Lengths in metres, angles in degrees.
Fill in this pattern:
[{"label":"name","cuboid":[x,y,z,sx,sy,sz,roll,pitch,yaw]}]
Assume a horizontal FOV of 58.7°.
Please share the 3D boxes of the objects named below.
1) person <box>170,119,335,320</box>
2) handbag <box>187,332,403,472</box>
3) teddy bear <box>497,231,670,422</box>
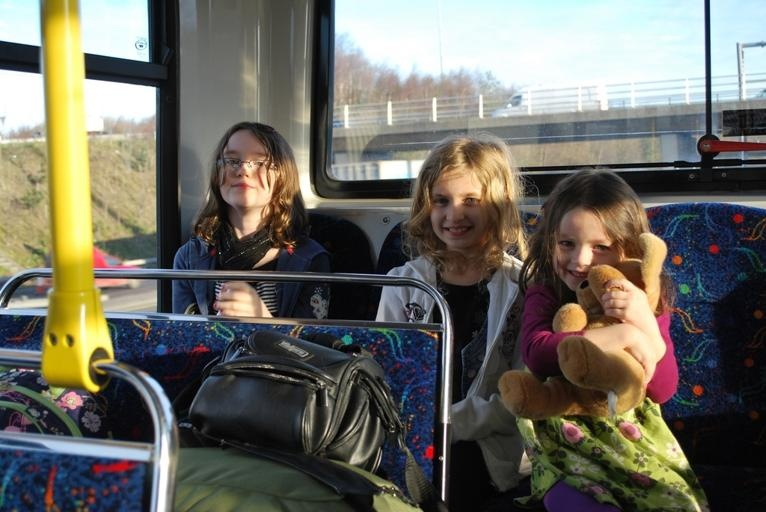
[{"label":"person","cuboid":[-0.645,-0.119,3.323,0.697,1.046,0.587,2,-8,-3]},{"label":"handbag","cuboid":[-0.256,0.406,1.962,0.438,0.258,0.455,16,-8,25]},{"label":"teddy bear","cuboid":[0.704,0.228,2.330,0.480,0.668,0.453,32,-35,-25]}]
